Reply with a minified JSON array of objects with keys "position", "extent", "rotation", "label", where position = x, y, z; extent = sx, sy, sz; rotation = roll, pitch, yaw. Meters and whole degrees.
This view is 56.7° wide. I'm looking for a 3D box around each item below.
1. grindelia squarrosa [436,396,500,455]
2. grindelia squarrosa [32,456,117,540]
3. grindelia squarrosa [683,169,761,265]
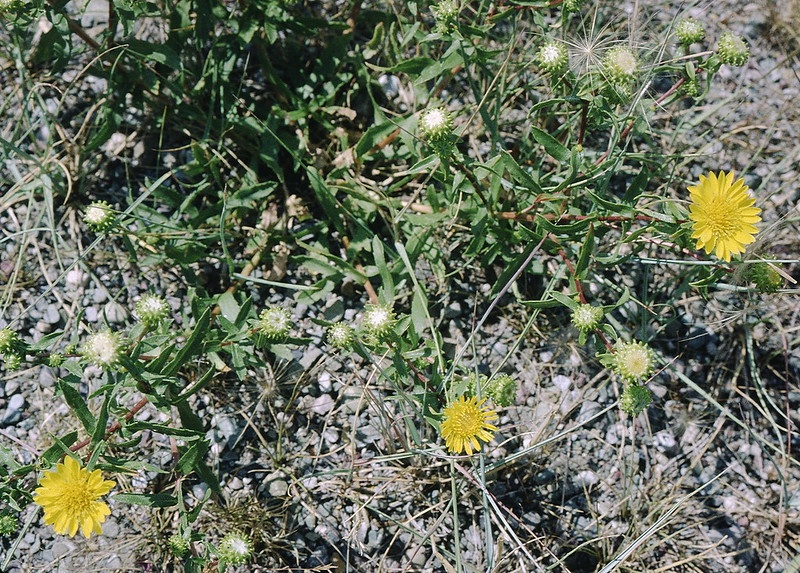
[{"position":[0.239,0.491,2.651],"extent":[0.197,0.217,0.167],"rotation":[-1,10,-10],"label":"grindelia squarrosa"},{"position":[-1.115,0.711,2.516],"extent":[0.238,0.298,0.149],"rotation":[4,10,17],"label":"grindelia squarrosa"},{"position":[1.121,-0.249,2.589],"extent":[0.264,0.317,0.121],"rotation":[-3,6,-8],"label":"grindelia squarrosa"}]
